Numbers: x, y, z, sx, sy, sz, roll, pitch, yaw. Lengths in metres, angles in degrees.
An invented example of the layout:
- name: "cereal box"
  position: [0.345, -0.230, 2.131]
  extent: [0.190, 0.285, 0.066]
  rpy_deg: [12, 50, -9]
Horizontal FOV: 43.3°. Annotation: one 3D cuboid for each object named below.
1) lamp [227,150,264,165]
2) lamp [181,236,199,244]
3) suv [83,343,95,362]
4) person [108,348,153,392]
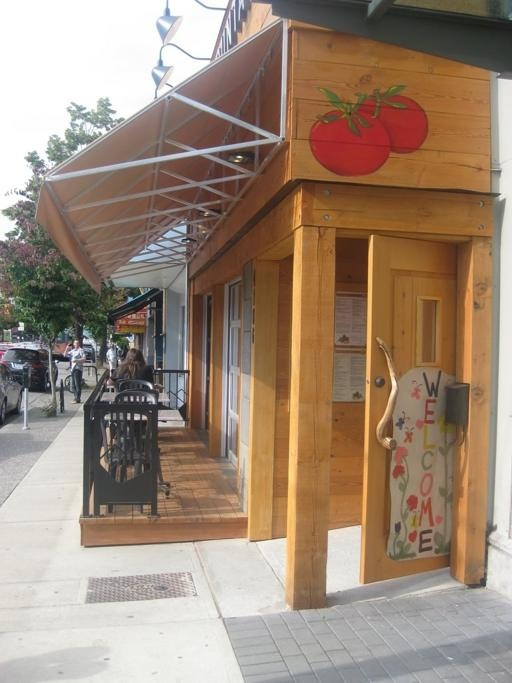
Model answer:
- name: "lamp"
  position: [-0.105, -1.408, 4.962]
  extent: [0.214, 0.054, 0.227]
  rpy_deg: [1, -5, -4]
- name: "lamp"
  position: [-0.912, -1.414, 9.000]
  extent: [0.152, 0.064, 0.211]
  rpy_deg: [1, -1, -5]
- name: "suv"
  position: [-10.656, 0.720, 41.322]
  extent: [0.883, 0.984, 2.199]
  rpy_deg: [-11, 7, -7]
- name: "person"
  position: [-2.275, 0.477, 11.582]
  extent: [0.801, 0.732, 0.468]
  rpy_deg: [4, 9, -2]
